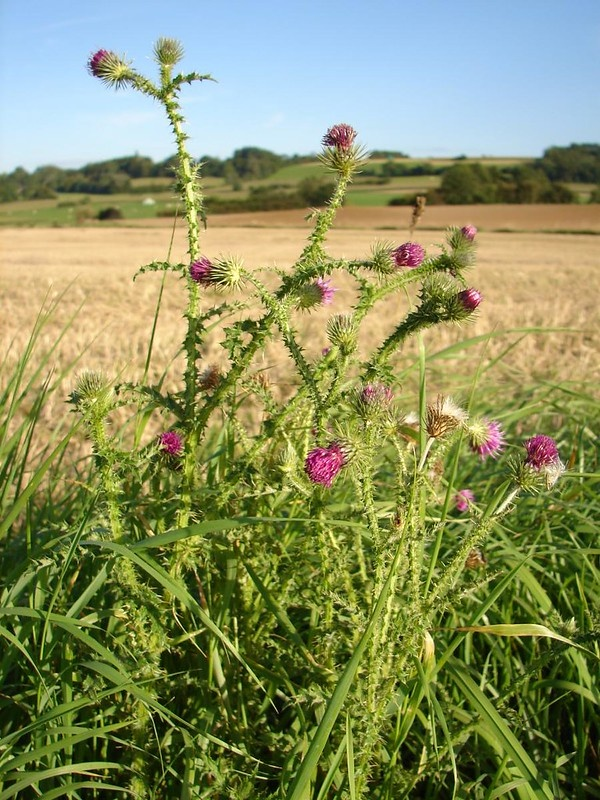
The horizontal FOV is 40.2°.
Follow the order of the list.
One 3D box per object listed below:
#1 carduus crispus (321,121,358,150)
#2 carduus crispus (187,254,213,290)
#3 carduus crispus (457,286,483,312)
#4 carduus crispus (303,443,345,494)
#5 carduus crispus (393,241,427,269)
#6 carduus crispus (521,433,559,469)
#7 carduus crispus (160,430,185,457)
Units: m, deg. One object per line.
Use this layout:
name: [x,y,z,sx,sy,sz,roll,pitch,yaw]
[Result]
carduus crispus: [0.069,-0.543,1.699,0.066,0.051,0.116,5,18,15]
carduus crispus: [-0.201,-0.258,1.676,0.048,0.055,0.073,-3,18,-7]
carduus crispus: [0.344,-0.204,1.695,0.049,0.052,0.060,0,-9,8]
carduus crispus: [0.046,0.132,1.615,0.068,0.049,0.085,29,50,16]
carduus crispus: [0.236,-0.310,1.774,0.074,0.064,0.062,8,64,3]
carduus crispus: [0.523,0.112,1.785,0.082,0.072,0.068,3,61,6]
carduus crispus: [-0.298,0.106,1.936,0.052,0.049,0.051,-38,42,-22]
